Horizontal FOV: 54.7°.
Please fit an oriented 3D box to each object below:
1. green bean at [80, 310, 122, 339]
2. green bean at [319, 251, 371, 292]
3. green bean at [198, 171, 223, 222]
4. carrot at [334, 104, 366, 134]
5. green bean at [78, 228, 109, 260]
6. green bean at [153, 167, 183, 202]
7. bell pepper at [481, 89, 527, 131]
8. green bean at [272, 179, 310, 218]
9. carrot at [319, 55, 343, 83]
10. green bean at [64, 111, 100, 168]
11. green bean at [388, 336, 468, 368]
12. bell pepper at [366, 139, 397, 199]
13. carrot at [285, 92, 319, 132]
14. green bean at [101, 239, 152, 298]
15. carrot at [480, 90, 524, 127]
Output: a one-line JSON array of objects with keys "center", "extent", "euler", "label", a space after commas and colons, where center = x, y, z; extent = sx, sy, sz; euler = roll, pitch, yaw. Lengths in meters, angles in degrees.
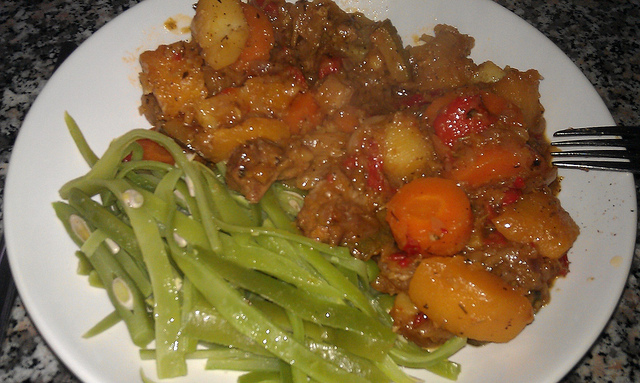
[{"center": [-1.278, 0.793, 3.662], "extent": [0.295, 0.044, 0.080], "euler": [-35, 88, -25], "label": "green bean"}, {"center": [0.174, 0.538, 3.807], "extent": [0.084, 0.243, 0.251], "euler": [-47, 120, -45], "label": "green bean"}, {"center": [-0.686, 0.045, 3.892], "extent": [0.035, 0.041, 0.313], "euler": [-18, 88, 6], "label": "green bean"}, {"center": [0.188, -0.473, 4.081], "extent": [0.181, 0.094, 0.186], "euler": [43, 87, 5], "label": "carrot"}, {"center": [-1.369, 0.316, 3.794], "extent": [0.113, 0.060, 0.213], "euler": [38, 73, -6], "label": "green bean"}, {"center": [-0.955, -0.043, 3.917], "extent": [0.138, 0.048, 0.200], "euler": [31, 87, 11], "label": "green bean"}, {"center": [1.149, -0.527, 3.927], "extent": [0.174, 0.066, 0.284], "euler": [-26, 65, -36], "label": "bell pepper"}, {"center": [-0.189, 0.036, 4.030], "extent": [0.219, 0.068, 0.238], "euler": [-2, 72, -11], "label": "green bean"}, {"center": [0.071, -0.836, 4.170], "extent": [0.173, 0.172, 0.185], "euler": [-3, 112, -21], "label": "carrot"}, {"center": [-1.515, -0.336, 3.971], "extent": [0.113, 0.050, 0.442], "euler": [-27, 94, 6], "label": "green bean"}, {"center": [0.669, 0.992, 3.757], "extent": [0.310, 0.248, 0.086], "euler": [-17, 97, 1], "label": "green bean"}, {"center": [0.362, -0.138, 3.874], "extent": [0.195, 0.078, 0.349], "euler": [-8, 83, 2], "label": "bell pepper"}, {"center": [-0.107, -0.513, 3.999], "extent": [0.173, 0.046, 0.246], "euler": [36, 85, 2], "label": "carrot"}, {"center": [-1.165, 0.476, 3.769], "extent": [0.093, 0.056, 0.391], "euler": [-37, 83, -10], "label": "green bean"}, {"center": [1.128, -0.561, 3.967], "extent": [0.185, 0.323, 0.078], "euler": [15, 74, 23], "label": "carrot"}]
